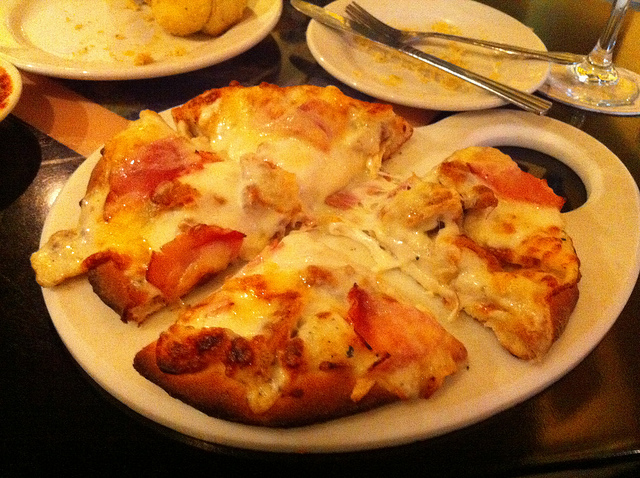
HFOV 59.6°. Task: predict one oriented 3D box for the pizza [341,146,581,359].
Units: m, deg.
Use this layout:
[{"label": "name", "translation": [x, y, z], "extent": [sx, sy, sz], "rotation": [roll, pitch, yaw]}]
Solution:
[{"label": "pizza", "translation": [0.345, -0.010, 1.357], "extent": [0.696, 0.143, 0.572], "rotation": [-23, 43, -33]}]
